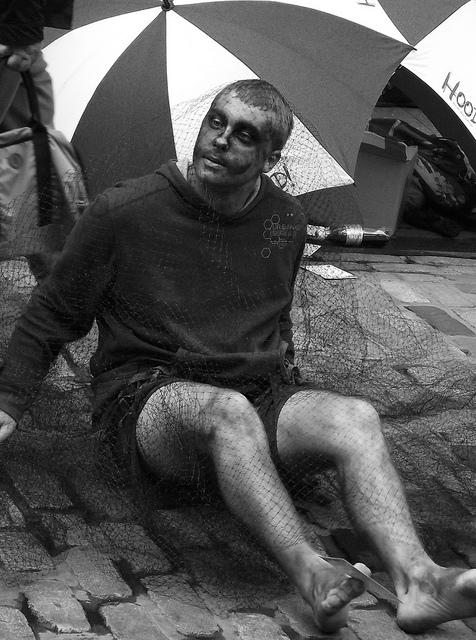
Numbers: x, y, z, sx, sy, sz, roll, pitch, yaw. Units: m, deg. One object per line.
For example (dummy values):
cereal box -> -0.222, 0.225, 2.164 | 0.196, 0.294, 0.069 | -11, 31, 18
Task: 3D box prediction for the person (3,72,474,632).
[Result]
person -> 0.088, 0.031, 1.998 | 1.014, 1.368, 1.531 | -5, 10, -37
